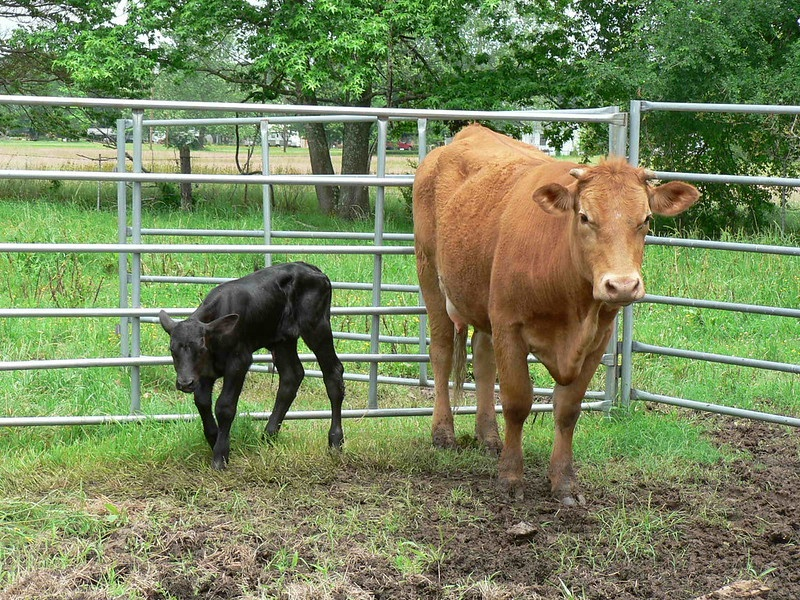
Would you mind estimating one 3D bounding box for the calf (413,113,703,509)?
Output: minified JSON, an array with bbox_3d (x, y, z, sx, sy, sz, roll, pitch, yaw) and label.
[{"bbox_3d":[1.069,0.118,8.452,1.214,2.809,3.671,-2,8,-17],"label":"calf"}]
